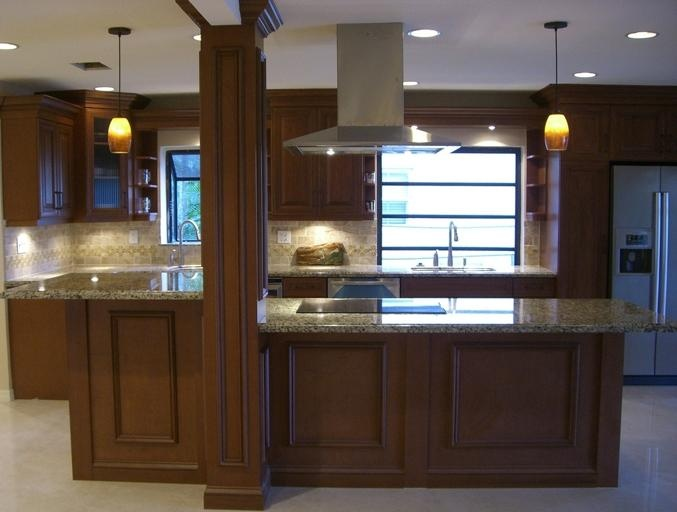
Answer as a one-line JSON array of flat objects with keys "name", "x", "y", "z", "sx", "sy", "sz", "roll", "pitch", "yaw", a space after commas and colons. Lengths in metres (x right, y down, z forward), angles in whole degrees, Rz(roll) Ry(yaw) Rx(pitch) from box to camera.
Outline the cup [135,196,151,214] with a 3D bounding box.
[{"name": "cup", "x": -1.964, "y": -0.495, "z": 6.968, "sx": 0.159, "sy": 0.176, "sz": 0.158, "roll": 0, "pitch": -1, "yaw": 0}]

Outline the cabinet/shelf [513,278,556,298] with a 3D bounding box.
[{"name": "cabinet/shelf", "x": 1.823, "y": 0.296, "z": 6.552, "sx": 0.291, "sy": 0.149, "sz": 0.221, "roll": 0, "pitch": 0, "yaw": 4}]

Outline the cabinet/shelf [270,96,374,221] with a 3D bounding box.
[{"name": "cabinet/shelf", "x": -0.178, "y": -0.881, "z": 6.242, "sx": 1.181, "sy": 1.354, "sz": 0.487, "roll": 0, "pitch": 1, "yaw": -2}]

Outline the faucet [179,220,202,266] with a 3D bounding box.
[{"name": "faucet", "x": -1.547, "y": -0.139, "z": 7.177, "sx": 0.198, "sy": 0.455, "sz": 0.390, "roll": -1, "pitch": 7, "yaw": -8}]

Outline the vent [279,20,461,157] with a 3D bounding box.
[{"name": "vent", "x": 0.228, "y": -1.017, "z": 5.188, "sx": 1.336, "sy": 0.973, "sz": 0.815, "roll": 0, "pitch": 1, "yaw": 1}]

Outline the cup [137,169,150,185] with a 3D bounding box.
[{"name": "cup", "x": -1.944, "y": -0.768, "z": 6.937, "sx": 0.111, "sy": 0.155, "sz": 0.133, "roll": -2, "pitch": 7, "yaw": -20}]
